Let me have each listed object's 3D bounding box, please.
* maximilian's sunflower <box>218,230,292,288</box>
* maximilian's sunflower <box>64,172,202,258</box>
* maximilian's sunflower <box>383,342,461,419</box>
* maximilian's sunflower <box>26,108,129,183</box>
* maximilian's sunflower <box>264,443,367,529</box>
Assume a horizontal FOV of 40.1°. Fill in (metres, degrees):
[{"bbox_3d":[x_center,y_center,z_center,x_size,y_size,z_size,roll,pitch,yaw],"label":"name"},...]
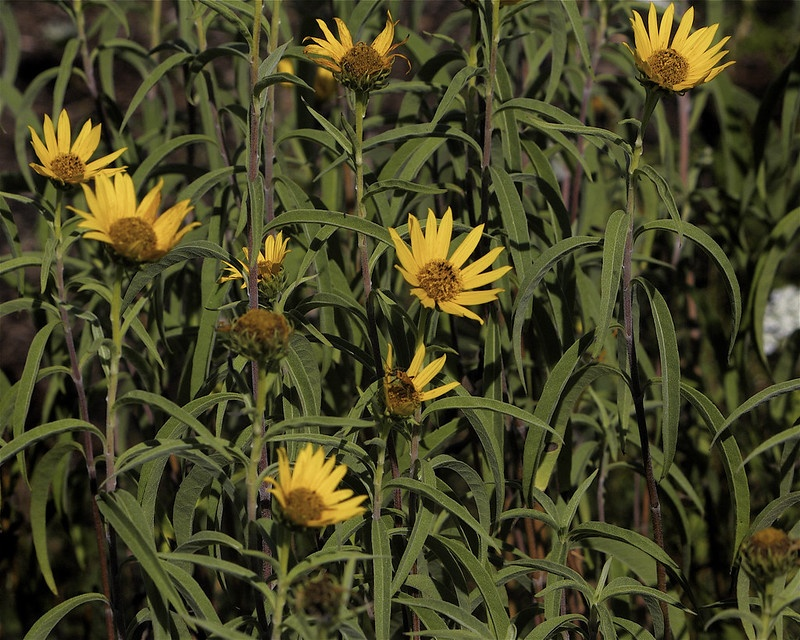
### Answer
[{"bbox_3d":[-0.259,-0.107,2.017,0.091,0.132,0.071,-4,5,-27],"label":"maximilian's sunflower"},{"bbox_3d":[-0.460,-0.159,1.871,0.147,0.219,0.170,-2,5,-36],"label":"maximilian's sunflower"},{"bbox_3d":[0.022,0.118,1.915,0.106,0.066,0.136,0,45,-8],"label":"maximilian's sunflower"},{"bbox_3d":[-0.640,-0.312,2.091,0.158,0.177,0.076,-24,55,24],"label":"maximilian's sunflower"},{"bbox_3d":[-0.125,0.273,1.801,0.162,0.086,0.150,12,27,10],"label":"maximilian's sunflower"}]
